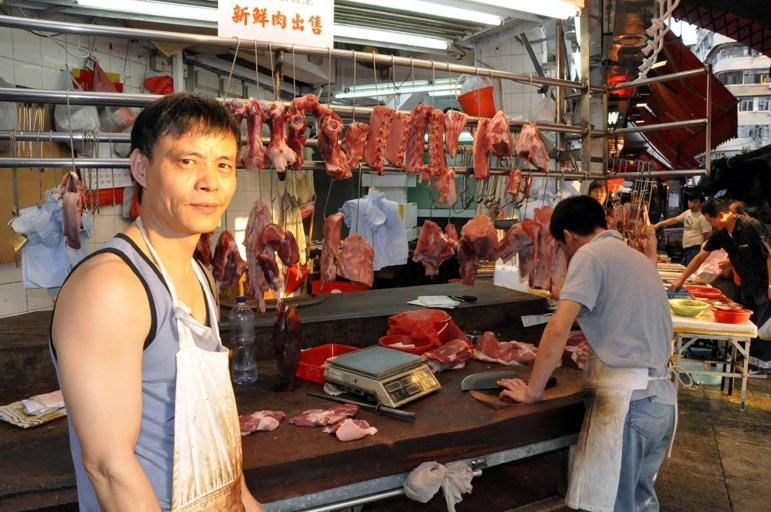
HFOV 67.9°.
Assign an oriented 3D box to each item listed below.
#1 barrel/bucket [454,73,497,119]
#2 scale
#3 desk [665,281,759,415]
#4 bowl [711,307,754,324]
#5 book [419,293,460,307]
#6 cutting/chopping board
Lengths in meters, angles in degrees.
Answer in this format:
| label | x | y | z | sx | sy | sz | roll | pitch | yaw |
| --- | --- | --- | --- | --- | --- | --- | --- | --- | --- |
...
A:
| label | x | y | z | sx | sy | sz | roll | pitch | yaw |
| --- | --- | --- | --- | --- | --- | --- | --- | --- | --- |
| barrel/bucket | 0.780 | -1.363 | 4.920 | 0.317 | 0.395 | 0.499 | 0 | 8 | 5 |
| scale | -0.027 | 0.790 | 3.837 | 0.596 | 0.240 | 0.666 | -5 | 7 | -39 |
| desk | 3.436 | 0.921 | 6.192 | 0.681 | 0.768 | 1.215 | 2 | 11 | 20 |
| bowl | 3.355 | 0.556 | 5.558 | 0.306 | 0.139 | 0.301 | -1 | 8 | 0 |
| book | 0.465 | 0.385 | 4.918 | 0.360 | 0.058 | 0.261 | -3 | 8 | -15 |
| cutting/chopping board | 1.052 | 0.895 | 3.878 | 1.064 | 0.110 | 0.281 | -5 | 14 | -25 |
